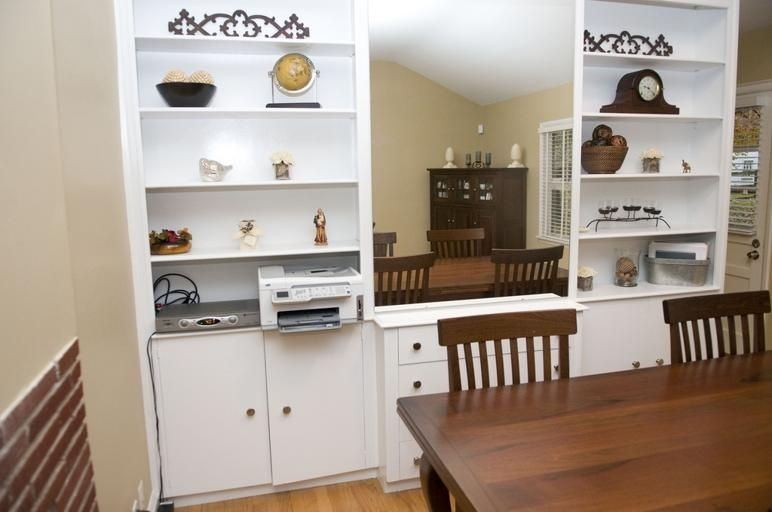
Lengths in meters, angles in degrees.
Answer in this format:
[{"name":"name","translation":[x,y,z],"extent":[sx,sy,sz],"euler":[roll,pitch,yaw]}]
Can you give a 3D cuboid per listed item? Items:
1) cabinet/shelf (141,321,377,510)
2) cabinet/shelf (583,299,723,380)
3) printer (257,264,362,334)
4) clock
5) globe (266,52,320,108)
[{"name":"cabinet/shelf","translation":[-0.785,0.909,3.084],"extent":[1.096,0.790,0.385],"euler":[-1,3,-13]},{"name":"cabinet/shelf","translation":[1.507,0.483,3.122],"extent":[0.562,0.512,0.178],"euler":[-1,4,-15]},{"name":"printer","translation":[-0.439,0.239,3.112],"extent":[0.590,0.332,0.343],"euler":[-5,7,-14]},{"name":"clock","translation":[1.678,-1.082,3.595],"extent":[0.527,0.306,0.219],"euler":[-6,7,-21]},{"name":"globe","translation":[-0.552,-1.014,3.087],"extent":[0.310,0.306,0.168],"euler":[-3,17,-15]}]
